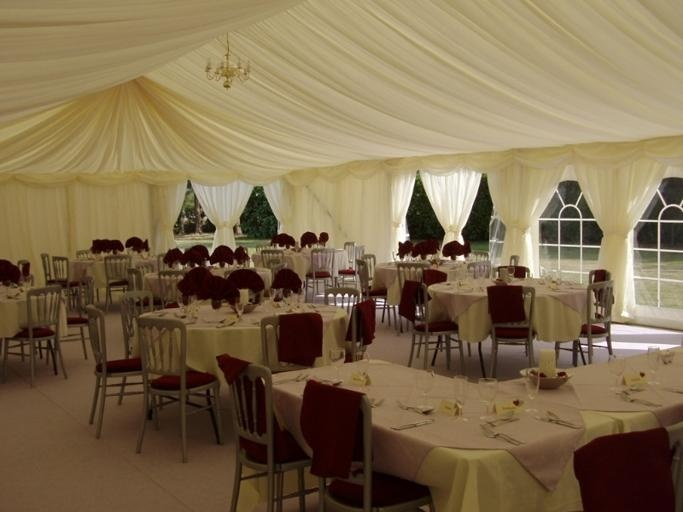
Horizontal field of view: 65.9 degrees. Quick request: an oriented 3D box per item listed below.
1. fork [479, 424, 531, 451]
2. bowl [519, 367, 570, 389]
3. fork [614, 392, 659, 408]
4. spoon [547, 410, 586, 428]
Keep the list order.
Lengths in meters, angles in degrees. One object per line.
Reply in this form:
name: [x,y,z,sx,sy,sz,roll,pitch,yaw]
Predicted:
fork: [0.776,0.881,2.566,0.055,0.034,0.214,-1,2,-28]
bowl: [1.224,0.738,3.162,0.186,0.056,0.195,-1,-2,0]
fork: [1.674,0.824,2.997,0.056,0.044,0.292,-16,9,-9]
spoon: [1.151,0.844,2.727,0.181,0.025,0.174,2,6,25]
